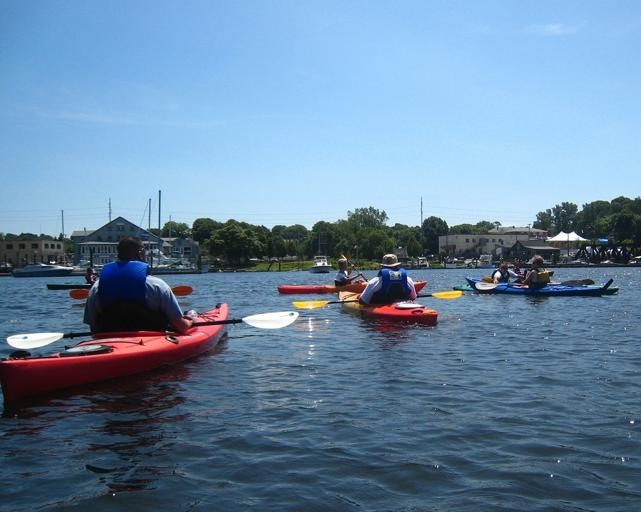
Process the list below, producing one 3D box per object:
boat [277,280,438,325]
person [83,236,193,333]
[{"bbox_3d":[1.089,0.916,15.066,1.278,0.777,6.025,0,-3,-24],"label":"boat"},{"bbox_3d":[-2.721,0.425,9.359,1.171,1.576,1.168,1,-2,-6],"label":"person"}]
